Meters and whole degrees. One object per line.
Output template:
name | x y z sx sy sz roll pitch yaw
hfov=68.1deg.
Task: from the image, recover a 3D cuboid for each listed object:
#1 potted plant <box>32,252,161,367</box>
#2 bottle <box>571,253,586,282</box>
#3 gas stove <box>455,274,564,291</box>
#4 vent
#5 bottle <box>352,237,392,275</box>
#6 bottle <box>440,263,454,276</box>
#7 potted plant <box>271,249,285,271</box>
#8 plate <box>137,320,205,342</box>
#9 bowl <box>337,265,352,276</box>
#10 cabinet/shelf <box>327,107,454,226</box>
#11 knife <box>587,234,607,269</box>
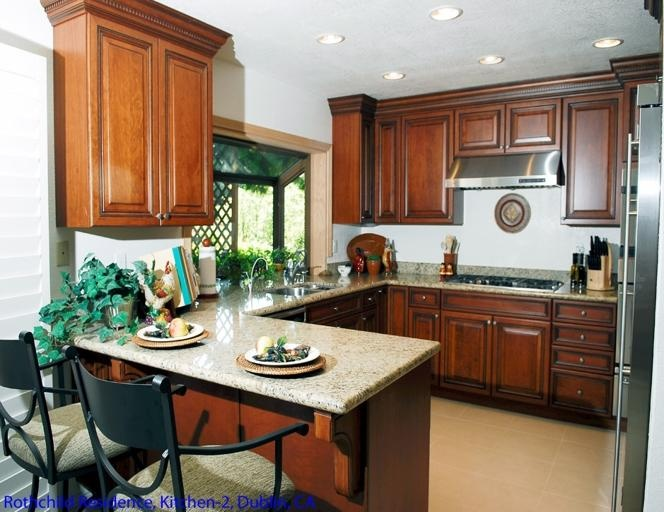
potted plant | -1.219 0.243 2.688 0.434 0.352 0.649 7 19 27
bottle | 2.123 0.100 4.228 0.116 0.239 0.284 5 7 26
gas stove | 1.532 0.221 4.384 0.937 0.032 0.640 5 7 28
vent | 1.492 -0.752 4.345 0.942 0.300 0.271 2 10 29
bottle | 0.406 -0.026 5.115 0.411 0.396 0.357 3 7 12
bottle | 1.125 0.145 4.790 0.138 0.130 0.091 -1 2 19
potted plant | -0.500 0.043 4.653 0.143 0.204 0.109 0 7 -12
plate | -0.818 0.371 2.490 0.356 0.068 0.286 2 6 4
bowl | 0.124 0.139 4.828 0.101 0.076 0.109 0 -1 0
cabinet/shelf | 0.575 -0.899 4.772 1.152 1.064 0.526 1 3 24
knife | 2.152 -0.034 3.987 0.069 0.274 0.152 18 -15 -34
